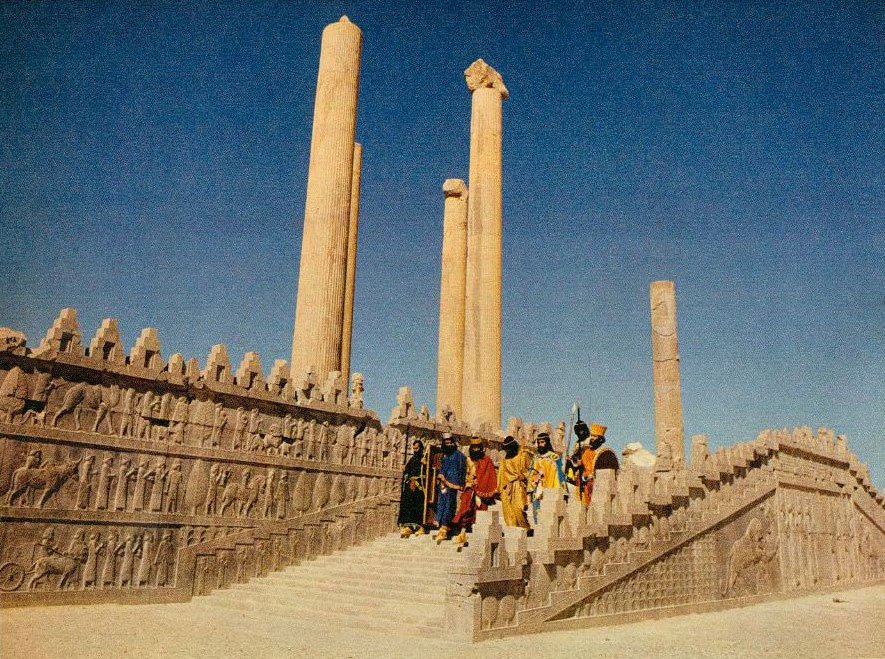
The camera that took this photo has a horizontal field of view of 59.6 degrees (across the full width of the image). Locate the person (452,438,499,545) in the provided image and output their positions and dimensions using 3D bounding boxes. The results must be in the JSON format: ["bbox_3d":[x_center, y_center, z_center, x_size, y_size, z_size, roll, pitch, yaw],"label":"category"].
[{"bbox_3d":[0.702,3.619,17.125,0.942,2.436,1.198,6,5,26],"label":"person"}]

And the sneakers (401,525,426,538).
[{"bbox_3d":[-0.700,4.919,18.790,0.577,0.275,0.262,3,-11,7],"label":"sneakers"}]

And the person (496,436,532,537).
[{"bbox_3d":[1.497,3.127,15.467,0.680,1.805,0.587,4,5,7],"label":"person"}]

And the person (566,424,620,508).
[{"bbox_3d":[3.317,2.991,17.311,1.039,1.622,1.430,5,5,11],"label":"person"}]
